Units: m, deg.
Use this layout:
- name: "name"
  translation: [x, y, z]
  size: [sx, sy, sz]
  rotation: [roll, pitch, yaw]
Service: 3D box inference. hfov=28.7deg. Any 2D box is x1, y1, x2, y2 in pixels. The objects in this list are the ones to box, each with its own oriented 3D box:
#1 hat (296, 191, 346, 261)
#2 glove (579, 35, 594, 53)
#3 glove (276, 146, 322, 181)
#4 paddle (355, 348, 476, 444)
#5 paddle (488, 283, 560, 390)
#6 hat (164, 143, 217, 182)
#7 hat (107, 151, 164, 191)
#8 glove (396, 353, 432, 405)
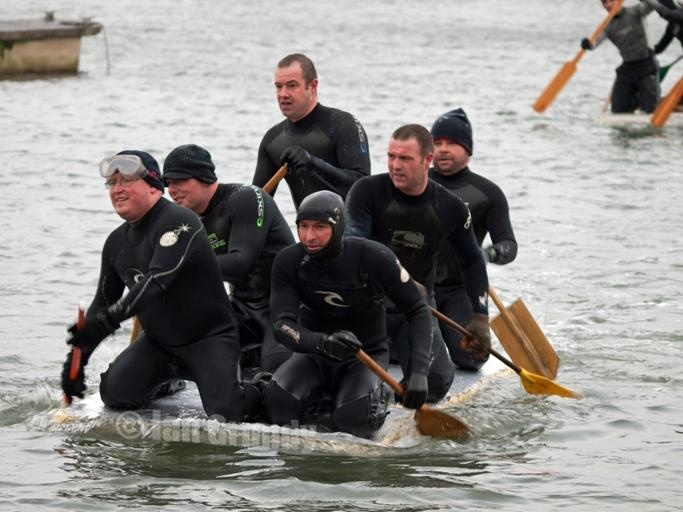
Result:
- name: "hat"
  translation: [-0.172, -0.362, 14.913]
  size: [0.511, 0.609, 0.539]
  rotation: [3, 4, 3]
- name: "glove"
  translation: [4.543, -3.890, 24.839]
  size: [0.385, 0.144, 0.278]
  rotation: [-24, -3, -44]
- name: "glove"
  translation: [-0.509, -1.133, 16.577]
  size: [0.436, 0.177, 0.333]
  rotation: [37, -32, -26]
- name: "paddle"
  translation: [0.503, 1.313, 14.648]
  size: [0.614, 0.405, 2.437]
  rotation: [-34, 14, -5]
- name: "paddle"
  translation: [2.199, 0.936, 16.966]
  size: [0.528, 0.148, 1.953]
  rotation: [-29, 40, -2]
- name: "hat"
  translation: [-1.680, -1.051, 15.453]
  size: [0.570, 0.317, 0.391]
  rotation: [1, -1, -39]
- name: "hat"
  translation: [-2.318, -0.988, 15.130]
  size: [0.424, 0.392, 0.551]
  rotation: [-6, -18, 27]
- name: "glove"
  translation: [0.798, 1.379, 14.984]
  size: [0.347, 0.561, 0.246]
  rotation: [2, 3, 11]
